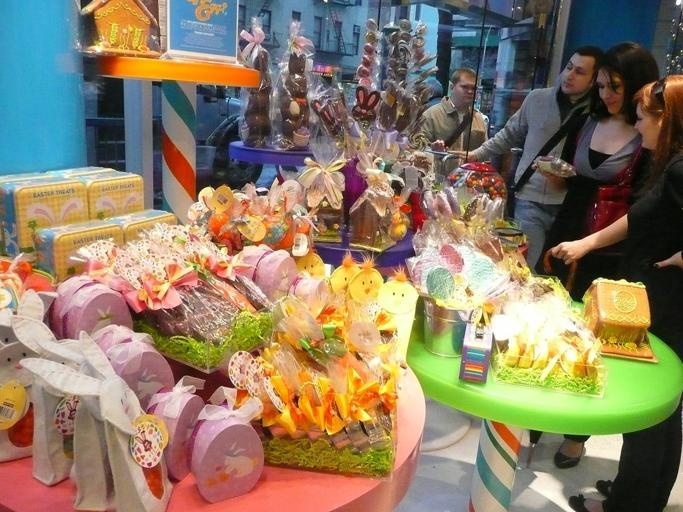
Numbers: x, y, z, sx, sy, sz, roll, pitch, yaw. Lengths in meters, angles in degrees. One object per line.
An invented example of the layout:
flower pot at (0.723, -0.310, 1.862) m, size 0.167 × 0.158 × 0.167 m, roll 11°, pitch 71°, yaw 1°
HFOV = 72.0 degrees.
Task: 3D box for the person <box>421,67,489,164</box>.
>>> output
person at (0.878, -1.111, 3.597) m, size 0.352 × 0.629 × 1.158 m, roll 11°, pitch 20°, yaw 24°

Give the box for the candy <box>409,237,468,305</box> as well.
candy at (0.361, 0.064, 1.777) m, size 0.196 × 0.077 × 0.211 m, roll -18°, pitch 54°, yaw -23°

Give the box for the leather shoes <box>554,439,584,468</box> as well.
leather shoes at (1.401, 1.228, 2.895) m, size 0.107 × 0.092 × 0.231 m, roll 11°, pitch 51°, yaw 45°

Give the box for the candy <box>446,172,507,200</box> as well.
candy at (0.732, -0.387, 2.523) m, size 0.200 × 0.152 × 0.197 m, roll -3°, pitch 9°, yaw -37°

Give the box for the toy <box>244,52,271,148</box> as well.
toy at (-0.514, -0.990, 2.938) m, size 0.189 × 0.583 × 0.171 m, roll -6°, pitch 19°, yaw -26°

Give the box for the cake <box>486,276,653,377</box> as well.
cake at (1.078, 0.249, 1.982) m, size 0.357 × 0.280 × 0.380 m, roll 1°, pitch 4°, yaw 6°

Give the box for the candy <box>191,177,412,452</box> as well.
candy at (-0.205, 0.174, 1.415) m, size 0.779 × 0.284 × 0.627 m, roll 16°, pitch 24°, yaw 29°

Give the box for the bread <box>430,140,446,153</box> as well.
bread at (0.656, -0.729, 3.185) m, size 0.104 × 0.113 × 0.098 m, roll -1°, pitch 9°, yaw -25°
